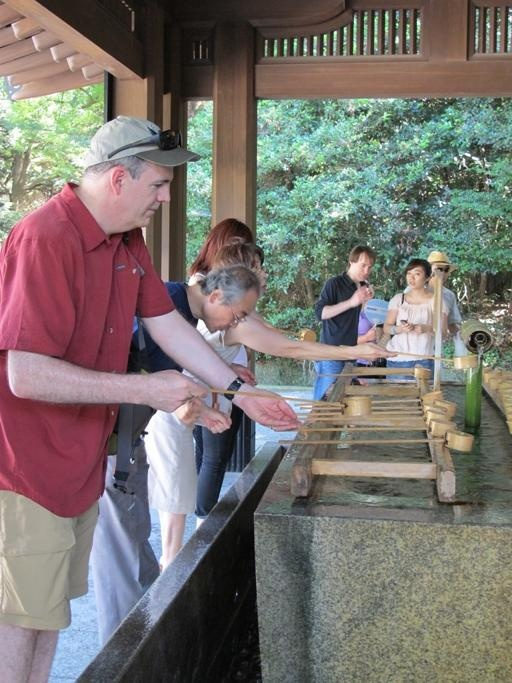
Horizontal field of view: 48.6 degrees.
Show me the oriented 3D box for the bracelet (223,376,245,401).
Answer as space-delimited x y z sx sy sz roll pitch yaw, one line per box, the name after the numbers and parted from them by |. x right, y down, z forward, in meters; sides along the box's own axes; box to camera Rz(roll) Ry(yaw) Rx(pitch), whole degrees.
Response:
-0.063 0.133 1.599 0.056 0.052 0.051 -20 -25 -15 | bracelet

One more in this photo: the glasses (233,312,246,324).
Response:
-0.053 -0.075 1.892 0.039 0.034 0.011 2 11 -21 | glasses

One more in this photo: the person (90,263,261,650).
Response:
-0.220 0.361 1.911 0.502 1.226 0.353 0 -12 2 | person

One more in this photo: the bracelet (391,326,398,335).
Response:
0.971 -0.075 4.008 0.044 0.049 0.045 0 41 15 | bracelet

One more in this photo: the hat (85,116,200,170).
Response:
-0.241 -0.418 1.198 0.233 0.095 0.146 -4 22 5 | hat

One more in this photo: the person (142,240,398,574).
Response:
-0.080 0.333 2.434 1.002 1.440 0.456 6 14 -24 | person

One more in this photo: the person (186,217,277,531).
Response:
-0.138 0.293 2.582 0.395 1.136 0.301 -3 12 -6 | person

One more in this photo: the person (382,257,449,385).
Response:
1.209 0.007 4.240 0.502 1.181 0.421 0 23 9 | person
